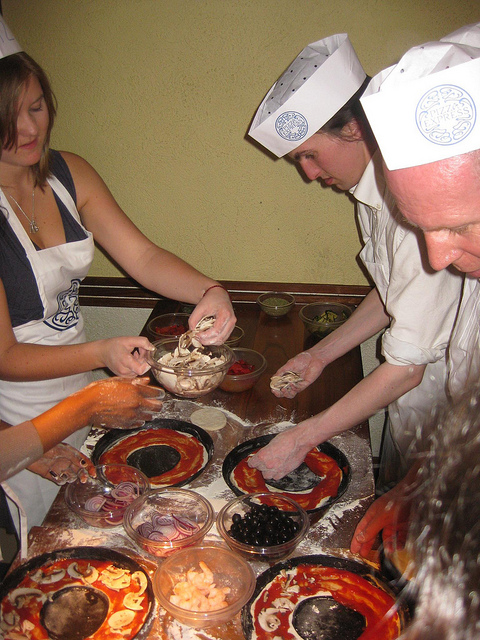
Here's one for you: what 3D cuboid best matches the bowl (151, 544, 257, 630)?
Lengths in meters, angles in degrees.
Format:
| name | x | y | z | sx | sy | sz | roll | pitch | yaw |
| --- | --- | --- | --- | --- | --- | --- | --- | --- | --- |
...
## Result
| name | x | y | z | sx | sy | sz | roll | pitch | yaw |
| --- | --- | --- | --- | --- | --- | --- | --- | --- | --- |
| bowl | -0.085 | 0.594 | 1.206 | 0.216 | 0.075 | 0.198 | 4 | 22 | -2 |

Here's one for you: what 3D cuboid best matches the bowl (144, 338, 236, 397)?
| name | x | y | z | sx | sy | sz | roll | pitch | yaw |
| --- | --- | --- | --- | --- | --- | --- | --- | --- | --- |
| bowl | -0.164 | 0.150 | 1.743 | 0.240 | 0.115 | 0.229 | 1 | 8 | 0 |

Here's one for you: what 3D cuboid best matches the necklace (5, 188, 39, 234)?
| name | x | y | z | sx | sy | sz | roll | pitch | yaw |
| --- | --- | --- | --- | --- | --- | --- | --- | --- | --- |
| necklace | -0.774 | -0.400 | 1.990 | 0.041 | 0.169 | 0.089 | 4 | 26 | 33 |

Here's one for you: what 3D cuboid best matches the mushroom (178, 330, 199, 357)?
| name | x | y | z | sx | sy | sz | roll | pitch | yaw |
| --- | --- | --- | --- | --- | --- | --- | --- | --- | --- |
| mushroom | -0.179 | 0.077 | 1.780 | 0.040 | 0.111 | 0.046 | 32 | -7 | -3 |

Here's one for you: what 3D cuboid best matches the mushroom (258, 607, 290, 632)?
| name | x | y | z | sx | sy | sz | roll | pitch | yaw |
| --- | --- | --- | --- | --- | --- | --- | --- | --- | --- |
| mushroom | 0.067 | 0.650 | 1.188 | 0.050 | 0.015 | 0.072 | 2 | 21 | 27 |

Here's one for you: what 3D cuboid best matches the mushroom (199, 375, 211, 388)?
| name | x | y | z | sx | sy | sz | roll | pitch | yaw |
| --- | --- | --- | --- | --- | --- | --- | --- | --- | --- |
| mushroom | -0.107 | 0.186 | 1.673 | 0.032 | 0.053 | 0.033 | -9 | 22 | 4 |

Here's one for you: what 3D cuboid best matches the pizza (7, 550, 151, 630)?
| name | x | y | z | sx | sy | sz | roll | pitch | yaw |
| --- | --- | --- | --- | --- | --- | --- | --- | --- | --- |
| pizza | -0.362 | 0.618 | 1.228 | 0.315 | 0.061 | 0.202 | -10 | 19 | -5 |

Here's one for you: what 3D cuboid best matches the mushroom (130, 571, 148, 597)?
| name | x | y | z | sx | sy | sz | roll | pitch | yaw |
| --- | --- | --- | --- | --- | --- | --- | --- | --- | --- |
| mushroom | -0.230 | 0.605 | 1.256 | 0.035 | 0.012 | 0.055 | -10 | 33 | -12 |

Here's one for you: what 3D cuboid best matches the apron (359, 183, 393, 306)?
| name | x | y | z | sx | sy | sz | roll | pitch | yaw |
| --- | --- | --- | --- | --- | --- | --- | --- | --- | --- |
| apron | 0.500 | -0.271 | 1.979 | 0.123 | 0.455 | 0.445 | -6 | 21 | 13 |

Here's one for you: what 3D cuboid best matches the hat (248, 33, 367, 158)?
| name | x | y | z | sx | sy | sz | roll | pitch | yaw |
| --- | --- | --- | --- | --- | --- | --- | --- | --- | --- |
| hat | 0.198 | -0.712 | 1.739 | 0.400 | 0.342 | 0.190 | -5 | 23 | 14 |

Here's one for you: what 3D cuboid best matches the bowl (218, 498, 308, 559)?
| name | x | y | z | sx | sy | sz | roll | pitch | yaw |
| --- | --- | --- | --- | --- | --- | --- | --- | --- | --- |
| bowl | 0.084 | 0.518 | 1.360 | 0.196 | 0.067 | 0.192 | -7 | 19 | 2 |

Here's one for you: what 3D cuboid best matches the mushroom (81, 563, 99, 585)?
| name | x | y | z | sx | sy | sz | roll | pitch | yaw |
| --- | --- | --- | --- | --- | --- | --- | --- | --- | --- |
| mushroom | -0.350 | 0.600 | 1.277 | 0.034 | 0.013 | 0.045 | -1 | 20 | 21 |

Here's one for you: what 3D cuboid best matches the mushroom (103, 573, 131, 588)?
| name | x | y | z | sx | sy | sz | roll | pitch | yaw |
| --- | --- | --- | --- | --- | --- | --- | --- | --- | --- |
| mushroom | -0.282 | 0.609 | 1.261 | 0.059 | 0.010 | 0.031 | -13 | 20 | -13 |

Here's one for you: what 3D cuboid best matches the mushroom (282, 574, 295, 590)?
| name | x | y | z | sx | sy | sz | roll | pitch | yaw |
| --- | --- | --- | --- | --- | --- | --- | --- | --- | --- |
| mushroom | 0.113 | 0.610 | 1.263 | 0.011 | 0.004 | 0.035 | 11 | 23 | 24 |

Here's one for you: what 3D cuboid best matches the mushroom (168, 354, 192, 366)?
| name | x | y | z | sx | sy | sz | roll | pitch | yaw |
| --- | --- | --- | --- | --- | --- | --- | --- | --- | --- |
| mushroom | -0.196 | 0.131 | 1.774 | 0.057 | 0.011 | 0.036 | -24 | 44 | -35 |

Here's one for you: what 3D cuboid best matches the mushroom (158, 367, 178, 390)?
| name | x | y | z | sx | sy | sz | roll | pitch | yaw |
| --- | --- | --- | --- | --- | --- | --- | --- | --- | --- |
| mushroom | -0.220 | 0.181 | 1.670 | 0.071 | 0.048 | 0.070 | -1 | 28 | -9 |

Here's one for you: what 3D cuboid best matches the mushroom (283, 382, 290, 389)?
| name | x | y | z | sx | sy | sz | roll | pitch | yaw |
| --- | --- | --- | --- | --- | --- | --- | --- | --- | --- |
| mushroom | 0.178 | 0.251 | 2.079 | 0.014 | 0.021 | 0.016 | 1 | -22 | 44 |

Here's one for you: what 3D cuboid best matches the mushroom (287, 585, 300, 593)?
| name | x | y | z | sx | sy | sz | roll | pitch | yaw |
| --- | --- | --- | --- | --- | --- | --- | --- | --- | --- |
| mushroom | 0.123 | 0.619 | 1.251 | 0.029 | 0.008 | 0.015 | -9 | 20 | -2 |

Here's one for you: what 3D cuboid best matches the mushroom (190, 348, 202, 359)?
| name | x | y | z | sx | sy | sz | roll | pitch | yaw |
| --- | --- | --- | --- | --- | --- | --- | --- | --- | --- |
| mushroom | -0.144 | 0.110 | 1.814 | 0.028 | 0.011 | 0.034 | 14 | 25 | -15 |

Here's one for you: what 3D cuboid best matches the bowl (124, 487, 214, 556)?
| name | x | y | z | sx | sy | sz | roll | pitch | yaw |
| --- | --- | --- | --- | --- | --- | --- | --- | --- | --- |
| bowl | -0.180 | 0.521 | 1.365 | 0.216 | 0.075 | 0.199 | 3 | 26 | -2 |
